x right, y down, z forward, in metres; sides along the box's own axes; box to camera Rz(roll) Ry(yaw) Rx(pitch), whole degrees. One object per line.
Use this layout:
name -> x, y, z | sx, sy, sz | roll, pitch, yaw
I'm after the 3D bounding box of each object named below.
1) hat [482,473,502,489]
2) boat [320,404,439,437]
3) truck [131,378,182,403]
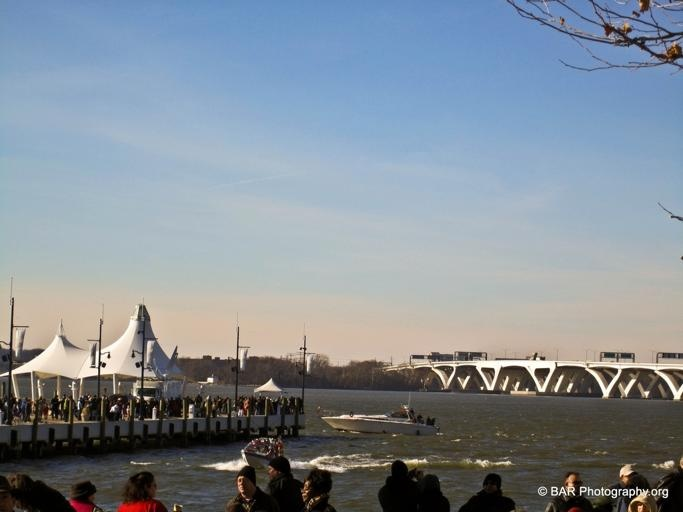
hat -> 6.979, 10.586, 65.309 | 0.770, 0.843, 0.656 | -1, -7, 4
boat -> 3.274, 13.958, 120.653 | 11.167, 2.883, 3.269 | 1, -15, 10
truck -> -15.817, 11.346, 118.550 | 2.858, 2.490, 5.096 | -2, -10, 5
